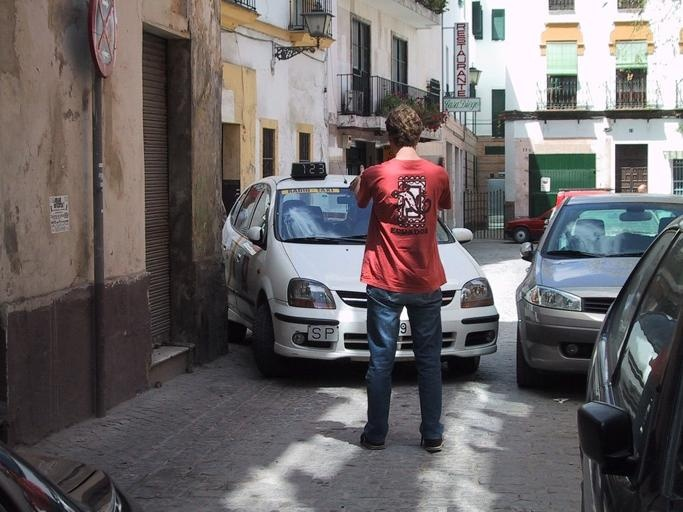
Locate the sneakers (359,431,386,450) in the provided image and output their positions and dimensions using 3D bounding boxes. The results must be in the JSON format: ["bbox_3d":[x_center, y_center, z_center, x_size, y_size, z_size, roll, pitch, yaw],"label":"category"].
[{"bbox_3d":[0.231,1.424,5.625,0.083,0.111,0.232,2,-1,-16],"label":"sneakers"}]

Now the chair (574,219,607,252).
[{"bbox_3d":[2.641,-0.209,7.777,0.257,0.461,0.349,2,-18,2],"label":"chair"}]
